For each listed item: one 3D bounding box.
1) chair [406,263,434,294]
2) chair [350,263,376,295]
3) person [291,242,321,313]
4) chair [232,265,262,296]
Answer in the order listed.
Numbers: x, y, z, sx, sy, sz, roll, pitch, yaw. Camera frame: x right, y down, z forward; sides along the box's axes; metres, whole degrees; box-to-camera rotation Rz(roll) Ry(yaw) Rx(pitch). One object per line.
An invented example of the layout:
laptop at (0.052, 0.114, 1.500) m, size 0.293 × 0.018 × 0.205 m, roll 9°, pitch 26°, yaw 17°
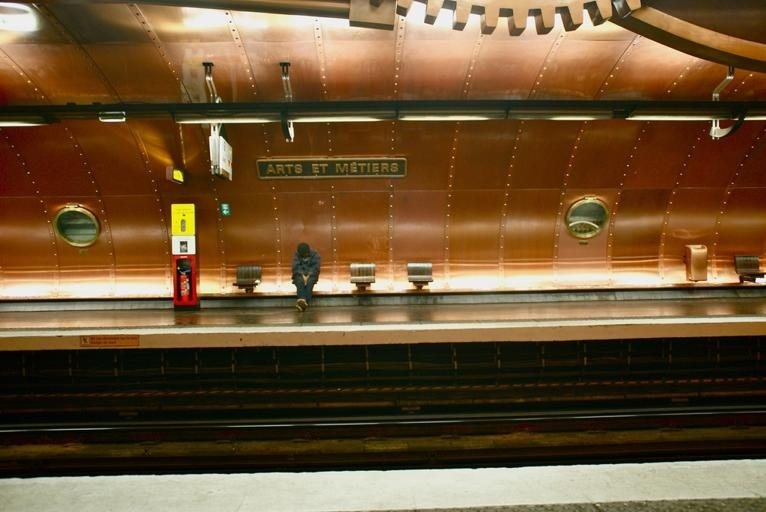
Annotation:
chair at (0.677, 0.347, 11.450) m, size 0.503 × 0.563 × 0.441 m, roll 1°, pitch -86°, yaw 1°
chair at (-0.372, 0.393, 11.449) m, size 0.473 × 0.367 × 0.435 m, roll -2°, pitch -55°, yaw -5°
person at (-1.397, 0.287, 11.063) m, size 0.503 × 1.323 × 1.090 m, roll 2°, pitch -57°, yaw -8°
chair at (-2.509, 0.421, 11.454) m, size 0.489 × 0.361 × 0.436 m, roll 2°, pitch -56°, yaw -8°
